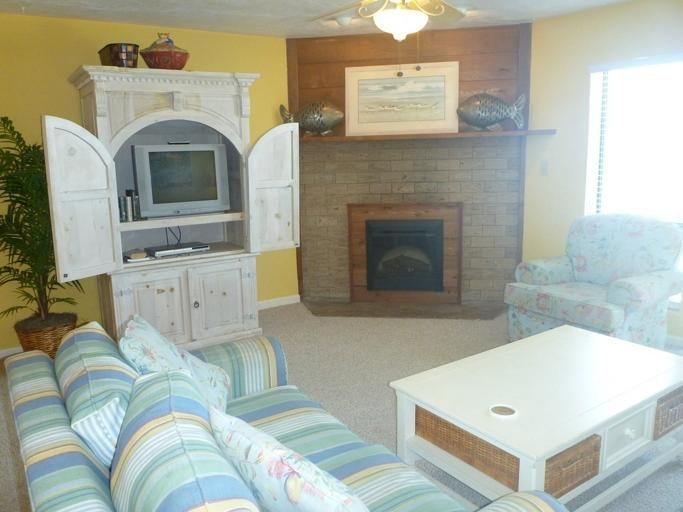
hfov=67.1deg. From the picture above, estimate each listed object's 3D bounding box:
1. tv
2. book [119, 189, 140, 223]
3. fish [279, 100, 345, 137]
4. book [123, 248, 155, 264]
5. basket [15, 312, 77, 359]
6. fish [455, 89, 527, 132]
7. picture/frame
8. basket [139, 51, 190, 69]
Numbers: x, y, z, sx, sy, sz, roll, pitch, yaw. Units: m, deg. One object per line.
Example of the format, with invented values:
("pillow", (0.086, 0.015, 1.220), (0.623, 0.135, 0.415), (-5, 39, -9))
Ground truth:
("tv", (-1.444, -0.619, 4.310), (0.510, 0.603, 0.908), (4, 11, 32))
("book", (-1.615, -0.375, 3.944), (0.170, 0.235, 0.269), (-6, 15, -27))
("fish", (-0.278, -1.338, 5.057), (0.687, 0.316, 0.212), (2, 22, 25))
("book", (-1.593, -0.012, 4.019), (0.156, 0.036, 0.151), (-5, 21, -27))
("basket", (-2.214, 0.621, 3.941), (0.449, 0.280, 0.436), (6, -12, -31))
("fish", (1.426, -1.361, 4.874), (0.726, 0.336, 0.199), (-6, 18, -16))
("picture/frame", (0.638, -1.565, 5.035), (0.946, 0.481, 0.028), (0, 8, 3))
("basket", (-1.309, -1.469, 3.863), (0.223, 0.101, 0.221), (-9, 13, -44))
